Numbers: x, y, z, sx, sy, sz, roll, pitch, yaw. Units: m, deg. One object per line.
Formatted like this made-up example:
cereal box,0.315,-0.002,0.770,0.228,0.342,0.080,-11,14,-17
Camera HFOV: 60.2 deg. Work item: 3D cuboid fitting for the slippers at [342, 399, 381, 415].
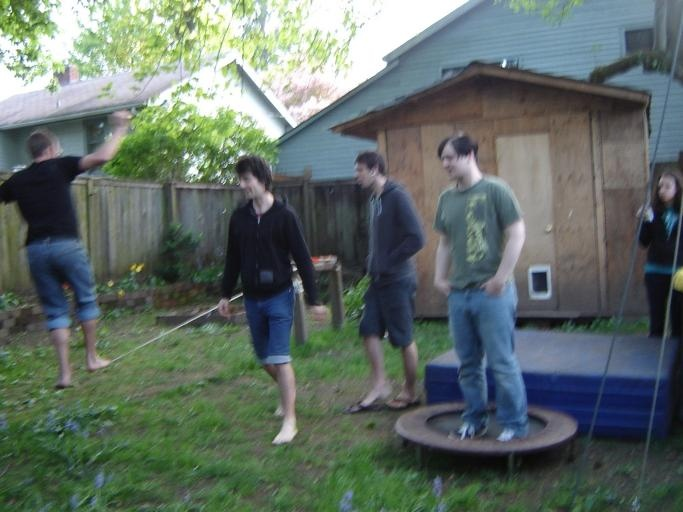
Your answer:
slippers,0.169,1.305,5.172,0.322,0.147,0.117,2,-5,1

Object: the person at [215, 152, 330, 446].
person,-0.569,0.294,4.836,0.497,2.197,0.827,-6,10,-42

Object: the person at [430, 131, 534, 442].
person,0.946,0.212,4.196,0.416,2.132,0.799,-5,9,-37

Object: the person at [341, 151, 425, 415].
person,0.403,0.212,5.224,0.600,2.252,0.530,1,7,0

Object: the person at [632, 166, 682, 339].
person,2.139,0.061,3.970,0.272,1.224,1.368,4,8,27

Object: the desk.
desk,-0.212,0.506,7.502,0.757,1.241,0.885,-1,0,-9

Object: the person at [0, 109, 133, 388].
person,-2.541,-0.039,5.368,1.194,2.537,0.380,1,7,6
